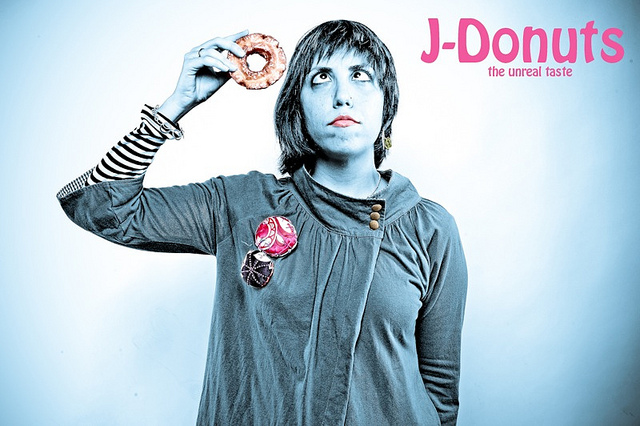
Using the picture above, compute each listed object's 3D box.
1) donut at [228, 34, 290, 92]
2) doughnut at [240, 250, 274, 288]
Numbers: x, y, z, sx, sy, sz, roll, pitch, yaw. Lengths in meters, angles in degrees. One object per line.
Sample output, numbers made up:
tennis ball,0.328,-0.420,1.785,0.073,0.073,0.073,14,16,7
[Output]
donut,-0.270,-0.701,3.074,0.269,0.088,0.278,3,0,9
doughnut,-0.262,0.237,2.934,0.136,0.140,0.038,30,15,22
